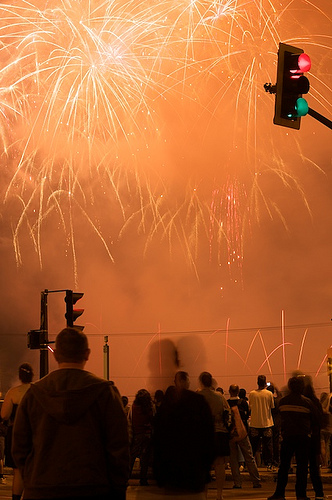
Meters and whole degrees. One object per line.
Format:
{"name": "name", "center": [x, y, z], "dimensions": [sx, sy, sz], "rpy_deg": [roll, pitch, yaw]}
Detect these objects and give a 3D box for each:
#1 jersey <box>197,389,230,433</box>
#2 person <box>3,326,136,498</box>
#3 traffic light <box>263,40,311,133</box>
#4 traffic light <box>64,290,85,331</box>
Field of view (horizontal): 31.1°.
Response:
{"name": "jersey", "center": [0.684, 2.275, 8.403], "dimensions": [0.261, 0.619, 0.614], "rpy_deg": [-8, -14, 23]}
{"name": "person", "center": [-0.556, 0.922, 3.426], "dimensions": [0.668, 0.974, 0.398], "rpy_deg": [-1, -13, -6]}
{"name": "traffic light", "center": [1.435, -2.062, 7.093], "dimensions": [0.549, 1.185, 0.672], "rpy_deg": [-4, -13, 10]}
{"name": "traffic light", "center": [-1.530, 1.078, 10.101], "dimensions": [0.301, 0.757, 0.155], "rpy_deg": [1, -8, -20]}
